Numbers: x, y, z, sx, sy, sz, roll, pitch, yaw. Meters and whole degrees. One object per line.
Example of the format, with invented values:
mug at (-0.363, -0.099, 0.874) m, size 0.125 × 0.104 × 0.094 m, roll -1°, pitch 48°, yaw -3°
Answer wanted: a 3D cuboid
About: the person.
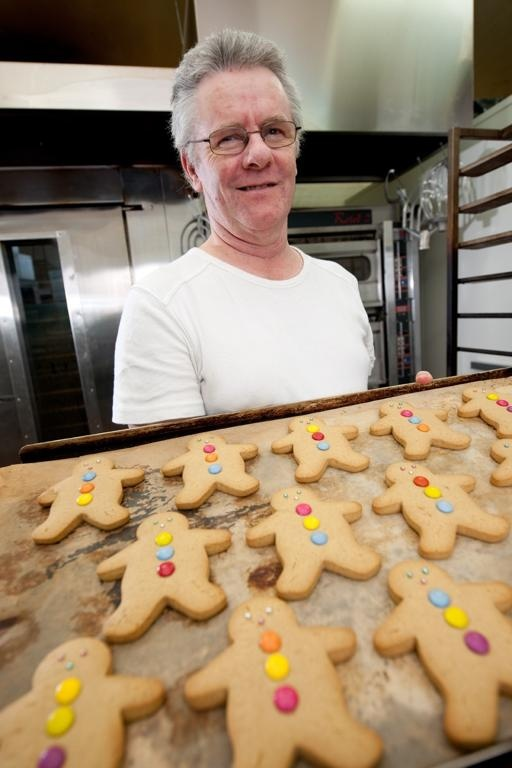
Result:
person at (-0.035, -0.317, 1.071) m, size 0.661 × 0.760 × 0.333 m, roll -10°, pitch 13°, yaw -11°
